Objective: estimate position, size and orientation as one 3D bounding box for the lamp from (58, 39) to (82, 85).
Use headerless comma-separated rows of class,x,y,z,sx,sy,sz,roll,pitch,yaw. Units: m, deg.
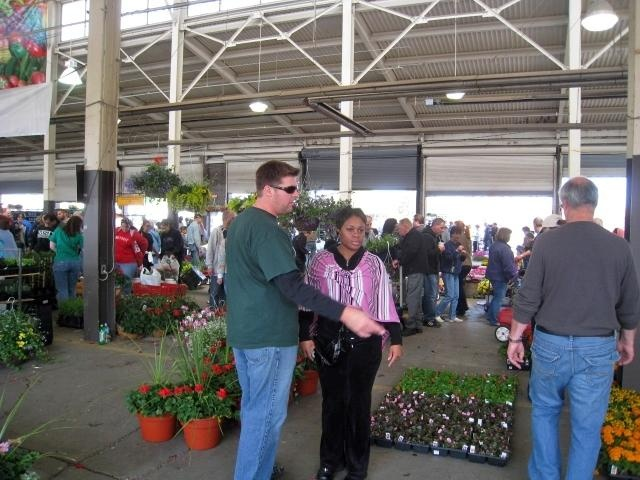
lamp,-6.685,-4.596,13.929,0.665,0.739,0.669,-3,26,-31
